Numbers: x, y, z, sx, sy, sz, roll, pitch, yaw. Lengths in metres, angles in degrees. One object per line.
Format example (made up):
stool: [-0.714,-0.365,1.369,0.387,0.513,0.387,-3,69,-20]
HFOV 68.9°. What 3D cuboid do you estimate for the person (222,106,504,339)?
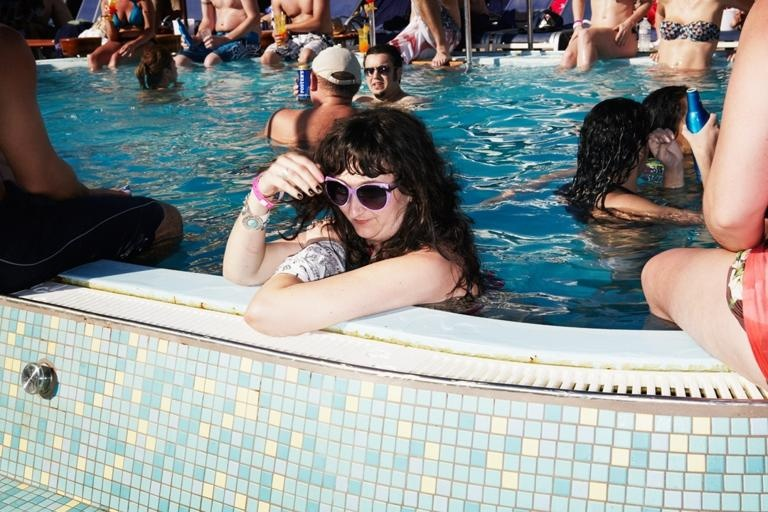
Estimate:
person: [0.017,-0.196,2.361,0.886,0.561,1.218,-5,7,20]
